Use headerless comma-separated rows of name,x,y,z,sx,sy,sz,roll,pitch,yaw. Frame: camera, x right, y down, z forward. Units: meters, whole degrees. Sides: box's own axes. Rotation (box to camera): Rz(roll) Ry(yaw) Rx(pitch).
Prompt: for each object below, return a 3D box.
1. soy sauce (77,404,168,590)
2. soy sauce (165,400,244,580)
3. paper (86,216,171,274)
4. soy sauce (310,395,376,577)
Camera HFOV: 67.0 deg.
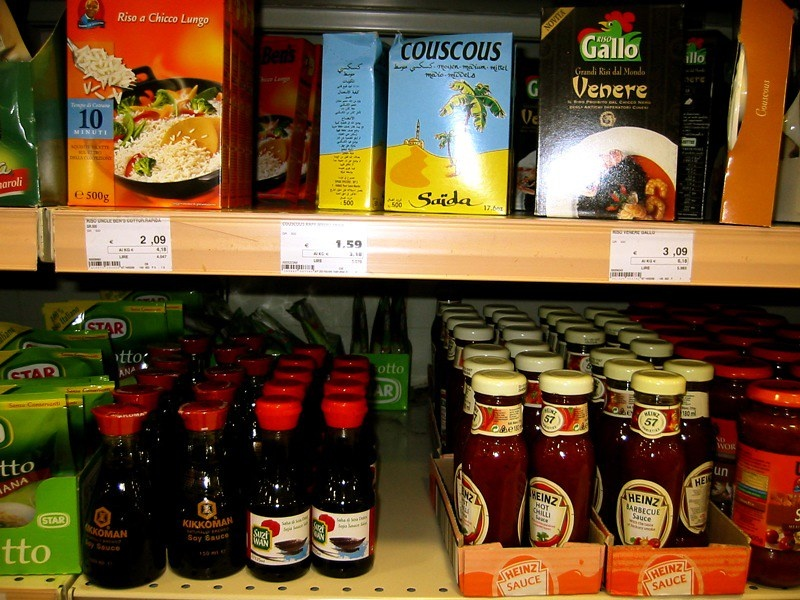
soy sauce,-0.522,0.367,1.126,0.139,0.338,0.071,-6,13,-28
soy sauce,-0.371,0.356,1.183,0.134,0.323,0.132,-7,13,-28
paper,-0.485,-0.110,1.097,0.170,0.106,0.093,0,19,-18
soy sauce,-0.115,0.350,1.209,0.126,0.351,0.174,-1,11,-5
